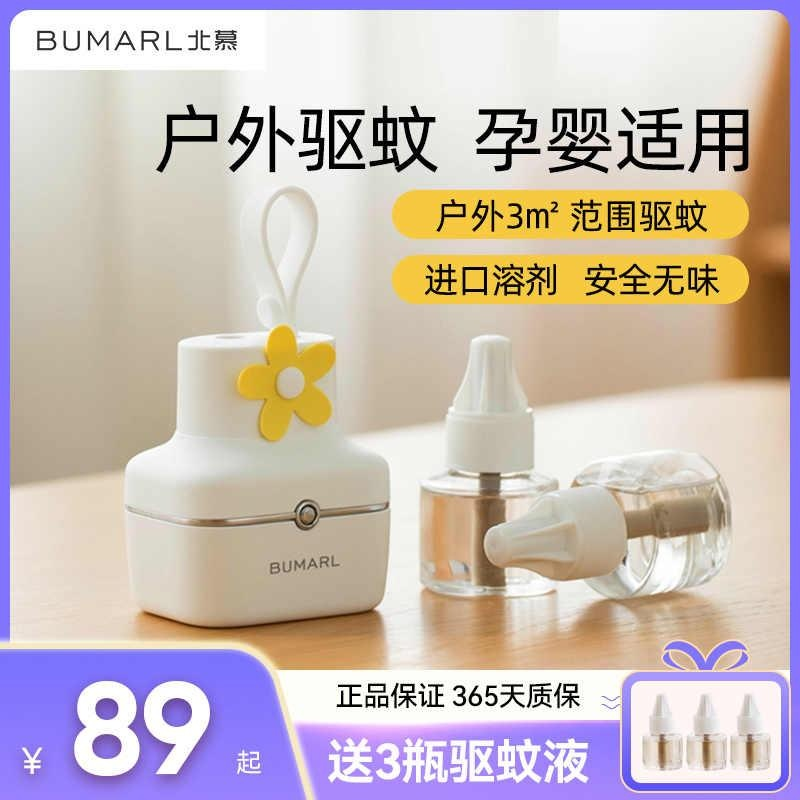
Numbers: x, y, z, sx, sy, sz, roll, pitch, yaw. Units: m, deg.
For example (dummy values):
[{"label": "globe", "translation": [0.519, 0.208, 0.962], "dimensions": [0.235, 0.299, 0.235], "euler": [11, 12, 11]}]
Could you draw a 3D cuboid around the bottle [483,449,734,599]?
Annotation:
[{"label": "bottle", "translation": [0.099, 0.064, 0.469], "dimensions": [0.134, 0.077, 0.058], "euler": [1, 0, -34]}]

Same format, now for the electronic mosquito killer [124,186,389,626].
[{"label": "electronic mosquito killer", "translation": [-0.070, 0.001, 0.462], "dimensions": [0.079, 0.209, 0.114], "euler": [3, 4, 44]}]

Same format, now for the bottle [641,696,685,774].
[{"label": "bottle", "translation": [0.119, 0.152, 0.434], "dimensions": [0.016, 0.033, 0.013], "euler": [1, 1, -10]}]

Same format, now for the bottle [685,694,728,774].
[{"label": "bottle", "translation": [0.138, 0.150, 0.431], "dimensions": [0.015, 0.032, 0.017], "euler": [2, -15, 0]}]
